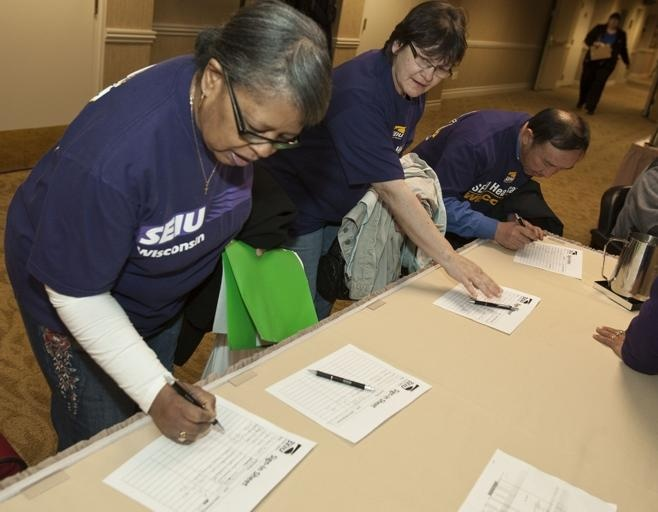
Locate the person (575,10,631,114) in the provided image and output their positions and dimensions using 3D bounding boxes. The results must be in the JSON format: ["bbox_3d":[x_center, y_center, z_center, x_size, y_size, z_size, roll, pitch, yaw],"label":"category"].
[{"bbox_3d":[5.524,-3.964,9.409,0.640,1.895,1.028,22,32,31],"label":"person"}]

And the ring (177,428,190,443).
[{"bbox_3d":[-0.312,0.392,0.979,0.020,0.033,0.010,2,12,-9],"label":"ring"}]

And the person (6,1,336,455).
[{"bbox_3d":[-0.424,0.006,1.185,0.704,1.223,0.611,25,34,34],"label":"person"}]

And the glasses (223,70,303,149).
[{"bbox_3d":[-0.138,-0.305,0.964,0.157,0.152,0.087,-4,29,-17],"label":"glasses"}]

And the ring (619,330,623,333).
[{"bbox_3d":[1.028,0.271,1.615,0.011,0.003,0.012,0,13,0],"label":"ring"}]

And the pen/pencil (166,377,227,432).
[{"bbox_3d":[-0.295,0.338,1.015,0.150,0.021,0.018,47,16,1],"label":"pen/pencil"}]

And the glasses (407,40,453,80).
[{"bbox_3d":[0.371,-0.713,1.696,0.126,0.041,0.134,14,34,-49],"label":"glasses"}]
